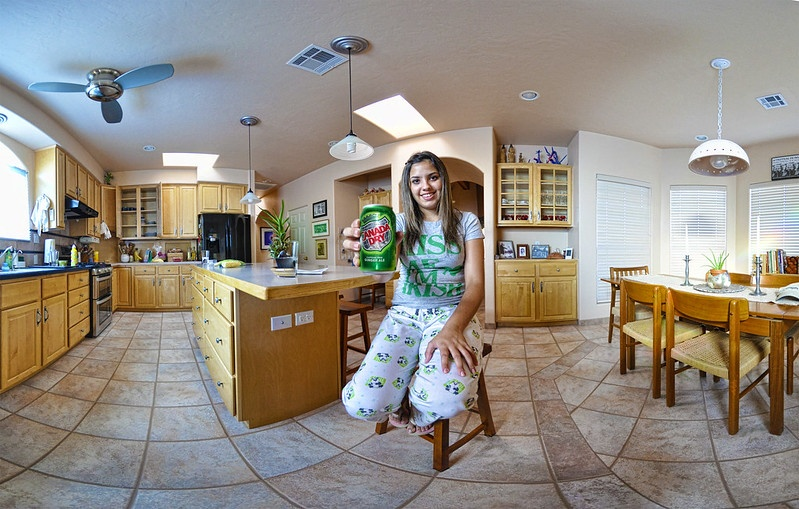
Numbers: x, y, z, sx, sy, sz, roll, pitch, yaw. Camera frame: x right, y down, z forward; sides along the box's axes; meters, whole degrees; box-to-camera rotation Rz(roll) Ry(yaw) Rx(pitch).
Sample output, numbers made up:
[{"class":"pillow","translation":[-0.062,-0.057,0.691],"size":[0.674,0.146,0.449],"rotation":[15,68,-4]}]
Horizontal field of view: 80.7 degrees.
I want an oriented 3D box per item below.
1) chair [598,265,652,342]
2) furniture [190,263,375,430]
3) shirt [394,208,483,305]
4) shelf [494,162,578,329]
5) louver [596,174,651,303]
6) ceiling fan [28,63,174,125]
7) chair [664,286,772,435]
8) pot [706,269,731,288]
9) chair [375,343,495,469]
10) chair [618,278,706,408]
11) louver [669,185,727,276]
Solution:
[{"class":"chair","translation":[2.596,0.672,5.631],"size":[0.573,0.697,0.555],"rotation":[-1,-4,19]},{"class":"furniture","translation":[-1.194,0.827,4.420],"size":[1.319,1.105,2.373],"rotation":[0,1,-27]},{"class":"shirt","translation":[0.260,0.024,3.748],"size":[0.865,0.720,0.435],"rotation":[0,11,8]},{"class":"shelf","translation":[1.940,-0.150,6.691],"size":[1.142,2.264,0.755],"rotation":[1,3,10]},{"class":"louver","translation":[3.339,-0.339,6.981],"size":[0.962,1.620,0.101],"rotation":[3,-7,-15]},{"class":"ceiling fan","translation":[-3.086,-1.798,5.202],"size":[1.476,0.522,0.723],"rotation":[0,3,5]},{"class":"chair","translation":[3.073,0.896,4.471],"size":[0.896,1.194,0.683],"rotation":[-12,12,-26]},{"class":"pot","translation":[3.169,0.235,4.736],"size":[0.212,0.185,0.206],"rotation":[3,2,0]},{"class":"chair","translation":[0.199,1.579,4.299],"size":[0.817,0.852,0.930],"rotation":[25,45,-7]},{"class":"chair","translation":[2.738,0.789,4.813],"size":[0.803,1.105,0.794],"rotation":[-10,10,-28]},{"class":"louver","translation":[4.668,-0.327,7.368],"size":[0.837,1.486,0.070],"rotation":[0,-1,2]}]
